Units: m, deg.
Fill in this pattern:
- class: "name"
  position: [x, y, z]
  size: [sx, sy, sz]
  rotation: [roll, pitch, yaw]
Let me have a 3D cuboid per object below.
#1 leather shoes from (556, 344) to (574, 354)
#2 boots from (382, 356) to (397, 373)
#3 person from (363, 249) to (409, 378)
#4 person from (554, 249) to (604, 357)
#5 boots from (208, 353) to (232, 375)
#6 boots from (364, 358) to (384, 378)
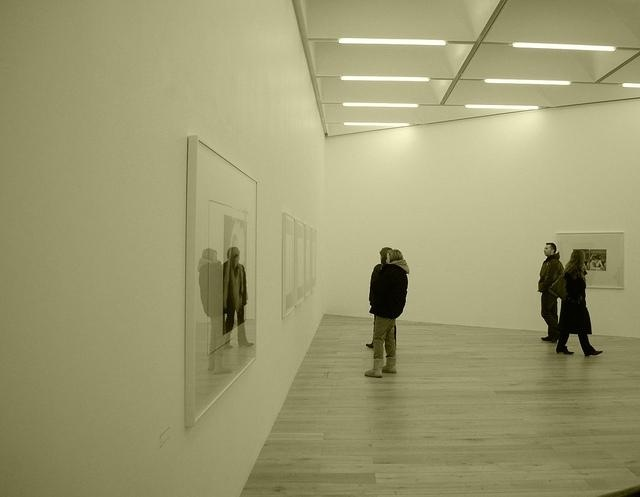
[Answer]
- class: "leather shoes"
  position: [3.737, 1.548, 8.599]
  size: [0.327, 0.160, 0.114]
  rotation: [1, 5, -4]
- class: "boots"
  position: [0.915, 1.530, 7.339]
  size: [0.106, 0.239, 0.253]
  rotation: [2, 0, -32]
- class: "person"
  position: [0.872, 0.823, 7.184]
  size: [0.501, 1.605, 0.502]
  rotation: [1, 1, 21]
- class: "person"
  position: [3.867, 0.821, 8.426]
  size: [0.476, 1.615, 0.501]
  rotation: [0, 1, -21]
- class: "boots"
  position: [-0.587, 0.665, 3.214]
  size: [0.057, 0.124, 0.133]
  rotation: [5, 7, 44]
- class: "boots"
  position: [0.717, 1.514, 7.169]
  size: [0.290, 0.312, 0.155]
  rotation: [4, 2, 5]
